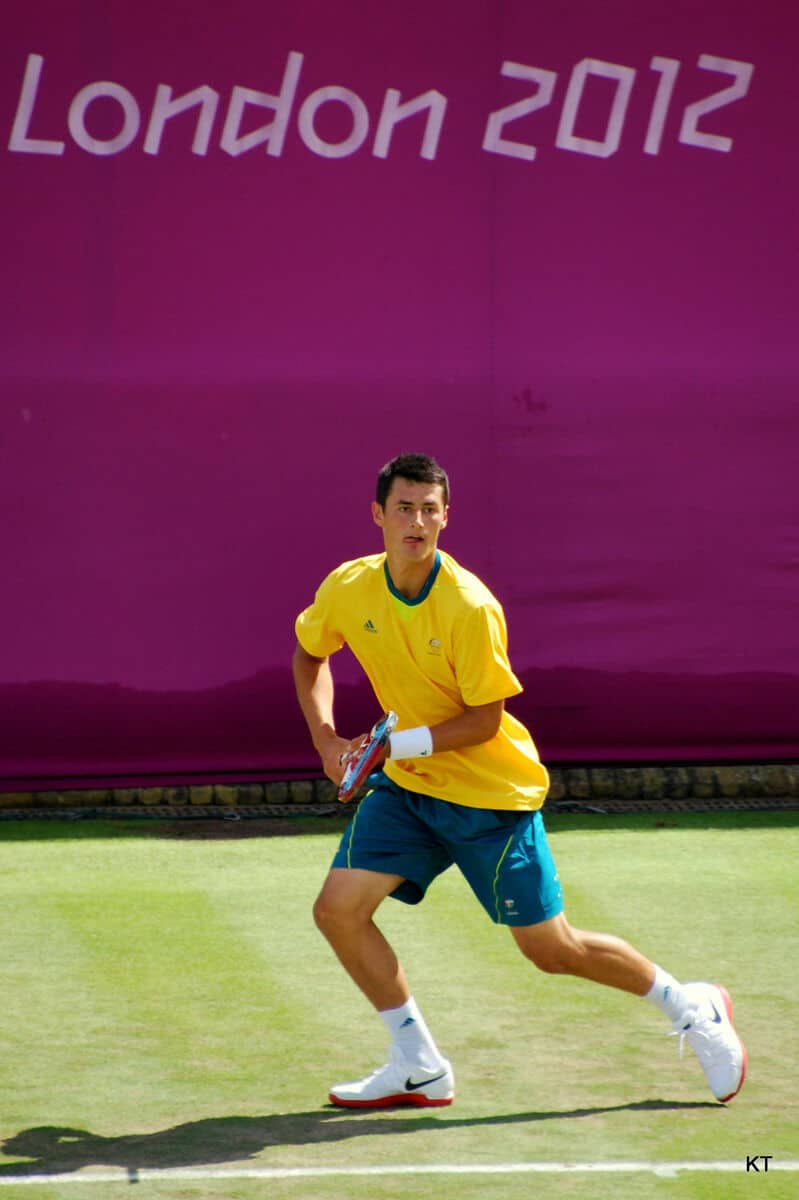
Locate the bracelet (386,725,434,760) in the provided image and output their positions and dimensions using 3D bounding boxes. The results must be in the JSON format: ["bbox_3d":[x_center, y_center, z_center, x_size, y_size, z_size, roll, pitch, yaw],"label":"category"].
[{"bbox_3d":[0.022,0.314,3.009,0.090,0.057,0.066,-5,4,-20],"label":"bracelet"}]

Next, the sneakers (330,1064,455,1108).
[{"bbox_3d":[-0.012,1.122,3.204,0.337,0.124,0.103,2,-1,-4],"label":"sneakers"}]

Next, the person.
[{"bbox_3d":[0.202,0.422,3.188,0.908,1.504,0.522,-5,-9,1],"label":"person"}]
